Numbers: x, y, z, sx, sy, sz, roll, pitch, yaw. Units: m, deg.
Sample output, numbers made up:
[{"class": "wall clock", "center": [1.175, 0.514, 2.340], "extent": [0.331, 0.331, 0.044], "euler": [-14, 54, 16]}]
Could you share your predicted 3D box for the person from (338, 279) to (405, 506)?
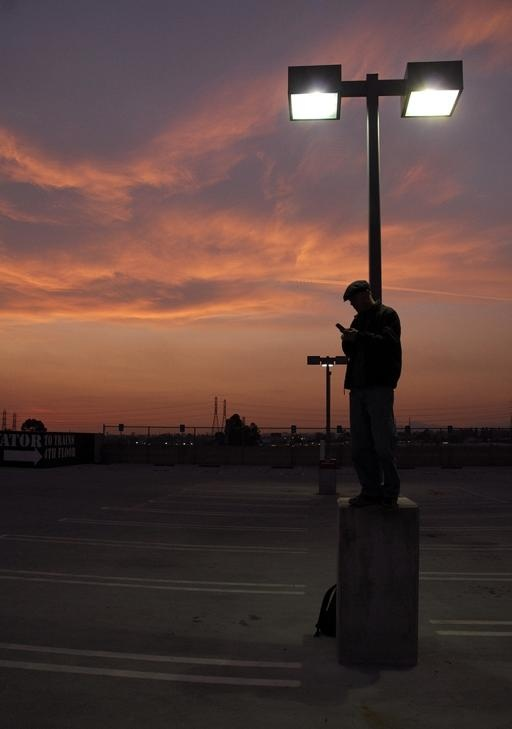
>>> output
[{"class": "person", "center": [0.947, 0.202, 7.923], "extent": [0.512, 1.875, 0.703], "euler": [-1, -3, -9]}]

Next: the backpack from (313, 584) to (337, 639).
[{"class": "backpack", "center": [0.601, 2.141, 8.346], "extent": [0.198, 0.409, 0.303], "euler": [-1, -3, 2]}]
